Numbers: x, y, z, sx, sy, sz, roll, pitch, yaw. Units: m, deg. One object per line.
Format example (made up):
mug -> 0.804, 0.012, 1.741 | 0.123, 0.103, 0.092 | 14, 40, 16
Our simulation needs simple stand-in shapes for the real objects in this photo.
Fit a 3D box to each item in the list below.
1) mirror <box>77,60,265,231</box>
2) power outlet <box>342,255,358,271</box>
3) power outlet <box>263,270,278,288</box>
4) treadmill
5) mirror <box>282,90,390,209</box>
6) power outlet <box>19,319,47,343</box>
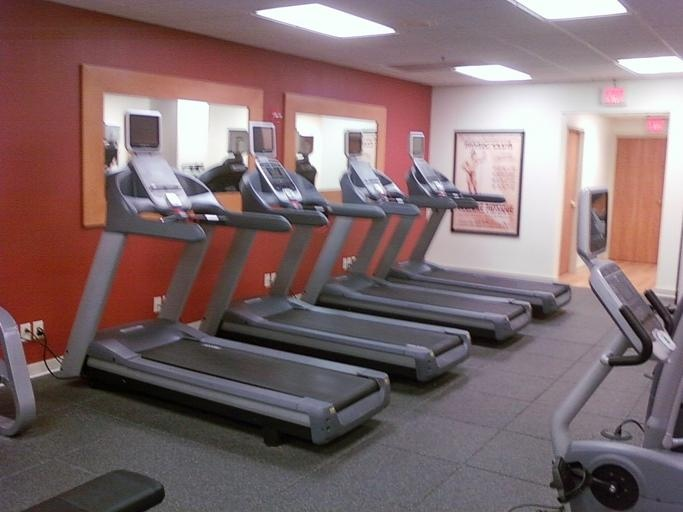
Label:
mirror -> -1.545, -1.016, 4.489 | 0.073, 1.373, 2.152 | 5, 6, 37
power outlet -> 0.106, 0.087, 7.060 | 0.208, 0.079, 0.193 | -26, 11, 11
power outlet -> -0.827, 0.266, 5.756 | 0.029, 0.184, 0.199 | 11, 19, 36
treadmill -> -0.627, -0.048, 4.071 | 2.519, 2.117, 1.958 | 7, 13, 26
mirror -> -0.103, -1.450, 6.571 | 1.699, 1.124, 0.080 | 17, 22, 34
power outlet -> -2.456, 0.596, 3.984 | 0.025, 0.163, 0.180 | 11, 15, 38
